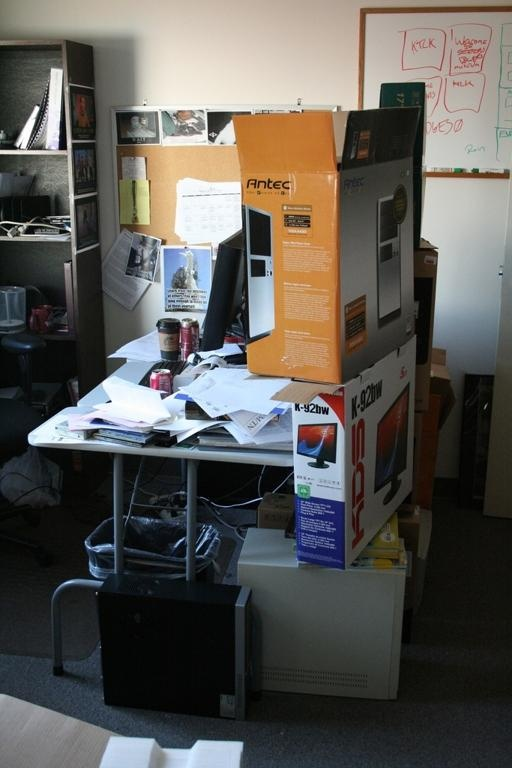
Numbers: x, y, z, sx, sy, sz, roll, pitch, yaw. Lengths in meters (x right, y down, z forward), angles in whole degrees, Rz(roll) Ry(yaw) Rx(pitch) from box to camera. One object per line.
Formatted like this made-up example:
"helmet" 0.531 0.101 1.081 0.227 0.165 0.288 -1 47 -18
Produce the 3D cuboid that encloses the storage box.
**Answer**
"storage box" 0.187 -0.057 1.468 0.297 1.150 0.744 5 13 22

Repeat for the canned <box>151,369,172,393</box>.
"canned" -0.303 -0.008 1.961 0.045 0.076 0.045 15 25 34

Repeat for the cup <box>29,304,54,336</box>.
"cup" -1.001 -0.299 2.862 0.082 0.134 0.139 5 16 9

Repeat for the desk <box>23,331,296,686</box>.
"desk" -0.289 0.447 2.171 0.877 0.847 1.127 1 21 4

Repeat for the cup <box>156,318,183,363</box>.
"cup" -0.333 -0.171 2.375 0.132 0.195 0.139 1 17 0
